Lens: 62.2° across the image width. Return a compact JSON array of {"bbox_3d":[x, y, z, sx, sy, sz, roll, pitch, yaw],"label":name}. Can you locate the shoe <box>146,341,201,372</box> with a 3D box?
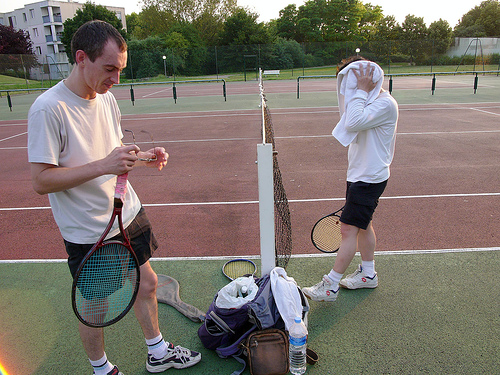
[{"bbox_3d":[-0.759,1.669,4.160,0.554,0.288,0.231,-1,3,-13],"label":"shoe"}]

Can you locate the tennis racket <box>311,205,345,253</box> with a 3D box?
[{"bbox_3d":[0.952,0.565,4.991,0.280,0.648,0.439,5,13,28],"label":"tennis racket"}]

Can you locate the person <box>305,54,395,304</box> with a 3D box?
[{"bbox_3d":[1.193,-0.069,4.695,1.170,2.744,0.574,-8,13,-28],"label":"person"}]

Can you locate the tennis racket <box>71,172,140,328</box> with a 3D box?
[{"bbox_3d":[-1.240,0.550,3.486,0.541,1.300,0.407,-6,12,-20],"label":"tennis racket"}]

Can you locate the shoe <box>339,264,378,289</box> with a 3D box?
[{"bbox_3d":[1.222,1.064,4.943,0.562,0.386,0.215,1,-5,3],"label":"shoe"}]

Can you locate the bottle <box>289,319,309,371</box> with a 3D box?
[{"bbox_3d":[0.455,1.502,3.953,0.165,0.487,0.137,0,12,5],"label":"bottle"}]

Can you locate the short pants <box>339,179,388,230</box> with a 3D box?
[{"bbox_3d":[1.253,0.187,4.573,0.468,0.537,0.274,3,12,18],"label":"short pants"}]

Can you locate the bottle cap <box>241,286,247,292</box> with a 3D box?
[{"bbox_3d":[-0.067,1.069,4.366,0.058,0.052,0.034,-2,12,-3],"label":"bottle cap"}]

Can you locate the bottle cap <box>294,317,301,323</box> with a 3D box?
[{"bbox_3d":[0.455,1.266,3.965,0.046,0.029,0.049,-3,-1,0],"label":"bottle cap"}]
